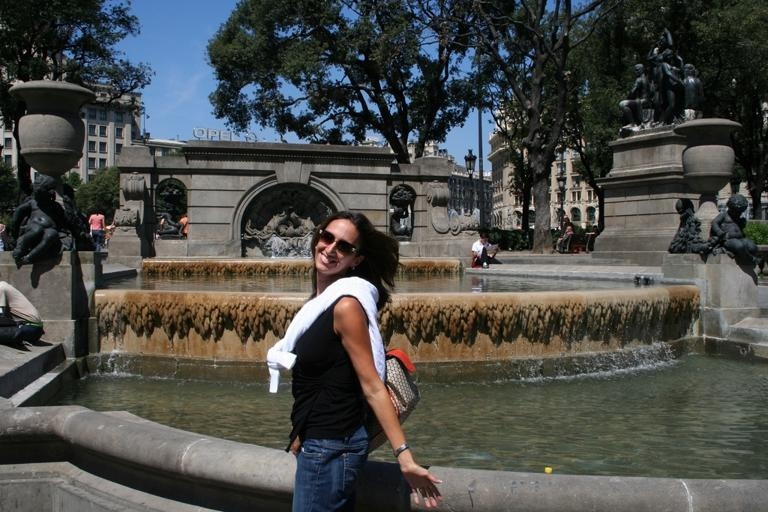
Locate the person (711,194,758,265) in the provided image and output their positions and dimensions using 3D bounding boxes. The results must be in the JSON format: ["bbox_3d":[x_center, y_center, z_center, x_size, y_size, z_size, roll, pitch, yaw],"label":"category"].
[{"bbox_3d":[6.747,-0.530,15.629,0.851,1.377,0.776,6,11,22],"label":"person"}]

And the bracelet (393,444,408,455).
[{"bbox_3d":[0.175,1.915,8.112,0.117,0.035,0.119,-40,-8,12],"label":"bracelet"}]

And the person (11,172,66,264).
[{"bbox_3d":[-5.595,-0.575,13.154,0.810,1.452,0.441,-3,11,-24],"label":"person"}]

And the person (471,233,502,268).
[{"bbox_3d":[3.398,-0.165,26.030,0.942,1.359,1.301,0,-6,-8],"label":"person"}]

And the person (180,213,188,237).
[{"bbox_3d":[-7.320,-1.165,29.759,0.234,0.952,1.710,-1,12,-17],"label":"person"}]
